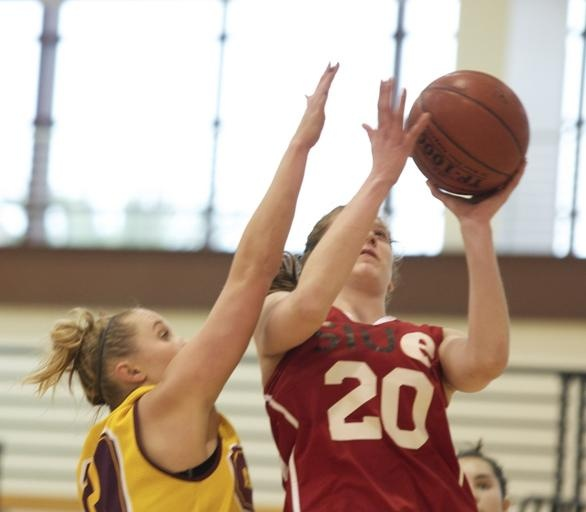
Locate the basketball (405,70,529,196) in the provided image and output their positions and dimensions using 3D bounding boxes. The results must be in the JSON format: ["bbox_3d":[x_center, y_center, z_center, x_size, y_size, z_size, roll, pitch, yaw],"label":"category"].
[{"bbox_3d":[0.651,-0.446,4.317,0.473,0.525,0.468,-6,7,-38],"label":"basketball"}]
